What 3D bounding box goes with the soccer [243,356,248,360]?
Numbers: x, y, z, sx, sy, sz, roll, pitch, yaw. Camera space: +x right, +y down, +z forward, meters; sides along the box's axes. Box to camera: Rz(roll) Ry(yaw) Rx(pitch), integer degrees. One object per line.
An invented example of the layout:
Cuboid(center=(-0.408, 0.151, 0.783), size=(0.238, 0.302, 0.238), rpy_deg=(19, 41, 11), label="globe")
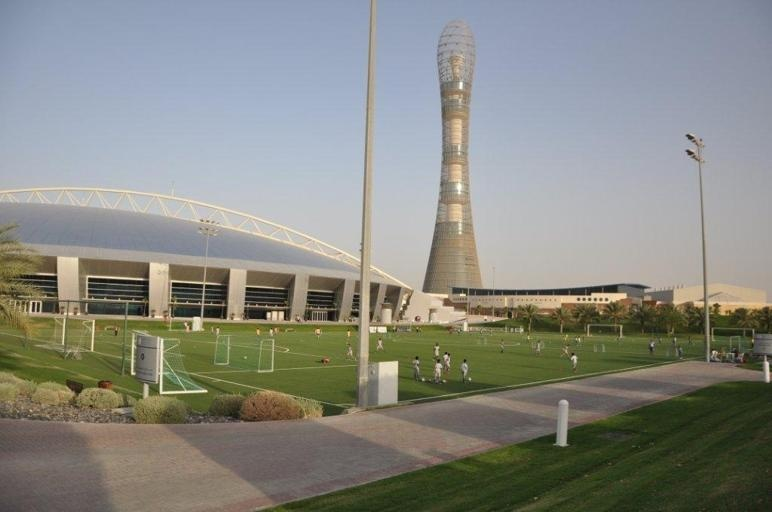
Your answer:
Cuboid(center=(-10.815, 7.746, 47.644), size=(0.257, 0.137, 0.230), rpy_deg=(2, 3, -7), label="soccer")
